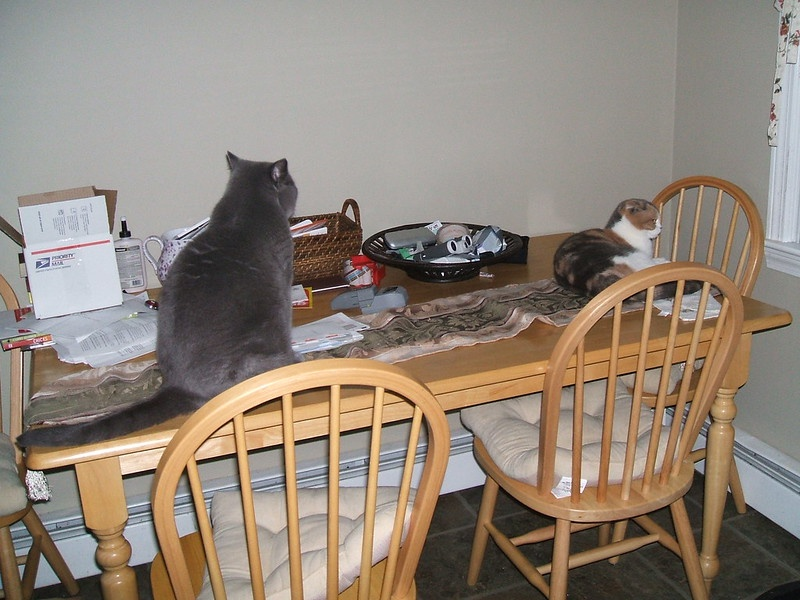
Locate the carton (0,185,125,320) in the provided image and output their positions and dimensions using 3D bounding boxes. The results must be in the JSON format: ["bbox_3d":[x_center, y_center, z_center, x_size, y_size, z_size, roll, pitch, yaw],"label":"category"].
[{"bbox_3d":[-0.996,-0.128,2.057,0.374,0.392,0.420,-9,-1,45],"label":"carton"}]

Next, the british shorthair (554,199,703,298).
[{"bbox_3d":[0.728,-0.162,1.950,0.483,0.263,0.383,-20,24,-36],"label":"british shorthair"}]

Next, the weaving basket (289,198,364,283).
[{"bbox_3d":[-0.252,-0.218,2.205,0.353,0.296,0.212,-8,23,-18],"label":"weaving basket"}]
